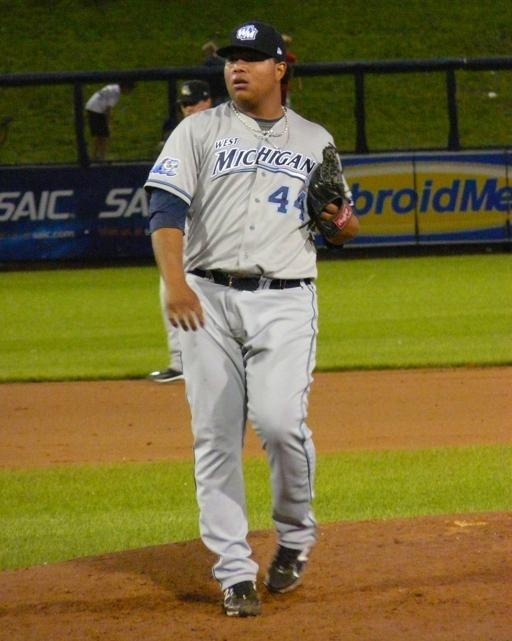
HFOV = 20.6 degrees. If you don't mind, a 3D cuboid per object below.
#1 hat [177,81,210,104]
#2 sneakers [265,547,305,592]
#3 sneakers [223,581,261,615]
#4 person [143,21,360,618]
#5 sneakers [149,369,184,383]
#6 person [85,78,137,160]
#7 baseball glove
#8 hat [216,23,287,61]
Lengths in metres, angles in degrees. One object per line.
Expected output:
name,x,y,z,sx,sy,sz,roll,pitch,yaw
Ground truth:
hat,-0.510,-1.906,11.802,0.176,0.149,0.247,3,12,18
sneakers,0.156,1.359,7.649,0.137,0.315,0.139,18,6,20
sneakers,-0.086,1.482,7.498,0.190,0.184,0.106,-1,14,-2
person,0.033,-0.050,7.550,1.122,3.145,1.006,1,-6,-9
sneakers,-0.701,0.438,11.037,0.325,0.143,0.136,2,1,-14
person,-1.696,-2.328,16.226,0.542,0.871,0.546,-5,15,-18
baseball glove,0.410,-0.677,7.627,0.232,0.498,0.260,3,-6,-40
hat,-0.041,-1.493,7.587,0.281,0.154,0.201,15,0,-30
